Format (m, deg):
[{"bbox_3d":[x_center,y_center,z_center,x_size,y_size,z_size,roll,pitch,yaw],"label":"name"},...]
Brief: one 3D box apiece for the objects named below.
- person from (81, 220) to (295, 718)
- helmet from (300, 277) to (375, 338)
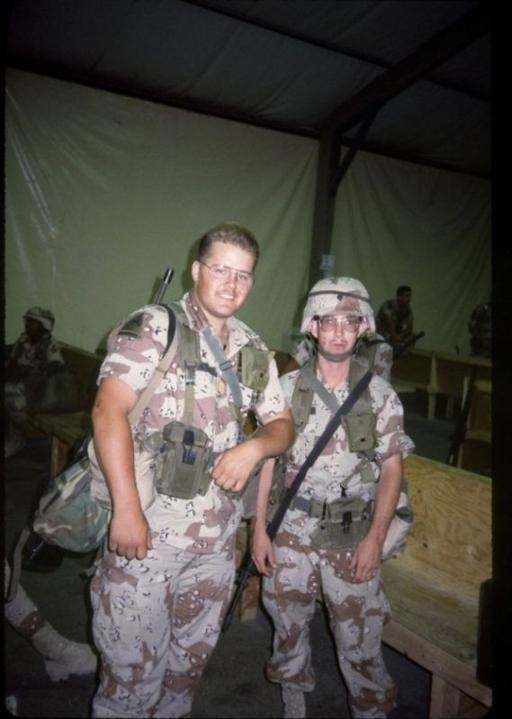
[{"bbox_3d":[-0.247,0.422,2.099,0.530,1.837,0.768,11,7,30],"label":"person"},{"bbox_3d":[0.356,-0.218,2.664,0.271,0.201,0.275,-4,2,42],"label":"helmet"}]
